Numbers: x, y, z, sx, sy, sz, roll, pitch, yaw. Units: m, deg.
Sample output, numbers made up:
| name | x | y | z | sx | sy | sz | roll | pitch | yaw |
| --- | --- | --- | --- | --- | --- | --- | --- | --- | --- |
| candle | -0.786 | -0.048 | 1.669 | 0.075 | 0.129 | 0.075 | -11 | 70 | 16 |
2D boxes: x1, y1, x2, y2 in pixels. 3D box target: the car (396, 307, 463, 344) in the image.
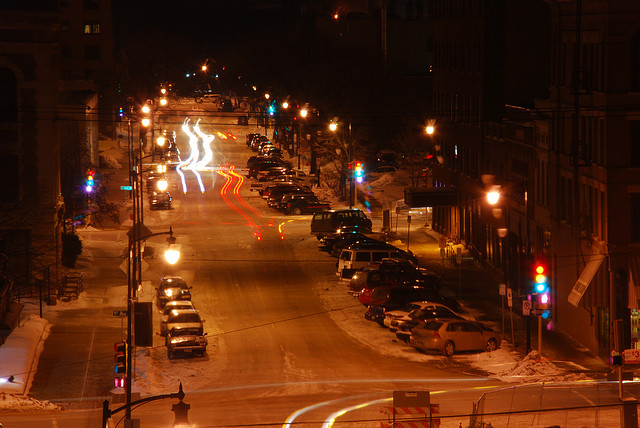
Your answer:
| name | x | y | z | sx | sy | sz | roll | pitch | yaw |
| --- | --- | --- | --- | --- | --- | --- | --- | --- | --- |
| car | 6.593 | 5.880 | 44.297 | 2.687 | 1.819 | 4.917 | 1 | 2 | -3 |

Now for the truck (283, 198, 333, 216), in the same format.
| name | x | y | z | sx | sy | sz | roll | pitch | yaw |
| --- | --- | --- | --- | --- | --- | --- | --- | --- | --- |
| truck | -1.299 | -0.781 | 76.990 | 4.091 | 1.329 | 1.694 | -3 | 3 | -18 |

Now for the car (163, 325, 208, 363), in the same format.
| name | x | y | z | sx | sy | sz | roll | pitch | yaw |
| --- | --- | --- | --- | --- | --- | --- | --- | --- | --- |
| car | -6.668 | 6.444 | 43.208 | 2.072 | 1.659 | 3.220 | -3 | -3 | -6 |

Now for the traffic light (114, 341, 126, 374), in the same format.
| name | x | y | z | sx | sy | sz | roll | pitch | yaw |
| --- | --- | --- | --- | --- | --- | --- | --- | --- | --- |
| traffic light | -7.616 | 5.376 | 32.325 | 0.354 | 1.013 | 0.803 | 0 | -30 | -16 |

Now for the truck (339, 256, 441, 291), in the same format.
| name | x | y | z | sx | sy | sz | roll | pitch | yaw |
| --- | --- | --- | --- | --- | --- | --- | --- | --- | --- |
| truck | 3.539 | 4.019 | 51.492 | 8.380 | 2.540 | 3.422 | 1 | -1 | 0 |
